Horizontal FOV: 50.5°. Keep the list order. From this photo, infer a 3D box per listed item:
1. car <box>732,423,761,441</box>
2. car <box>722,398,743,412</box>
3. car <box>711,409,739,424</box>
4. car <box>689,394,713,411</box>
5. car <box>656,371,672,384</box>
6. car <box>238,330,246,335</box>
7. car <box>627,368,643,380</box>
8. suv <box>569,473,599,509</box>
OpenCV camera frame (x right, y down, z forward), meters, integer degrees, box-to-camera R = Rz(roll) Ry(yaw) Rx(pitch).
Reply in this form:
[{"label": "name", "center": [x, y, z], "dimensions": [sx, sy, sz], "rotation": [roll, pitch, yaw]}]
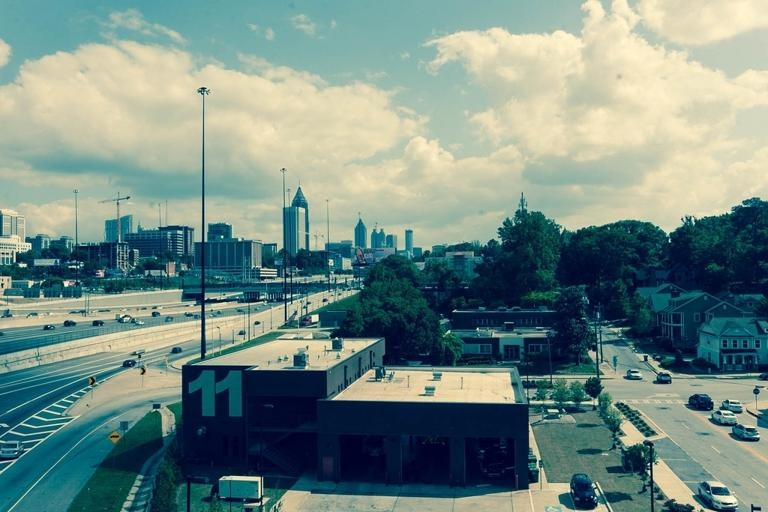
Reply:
[{"label": "car", "center": [58.044, 28.110, 130.199], "dimensions": [4.073, 2.205, 1.956], "rotation": [-1, 2, 12]}, {"label": "car", "center": [60.235, 25.734, 140.407], "dimensions": [3.627, 1.729, 3.206], "rotation": [-1, 2, 14]}, {"label": "car", "center": [56.784, 26.707, 135.232], "dimensions": [4.074, 2.125, 2.320], "rotation": [0, 3, 36]}, {"label": "car", "center": [55.540, 25.403, 142.179], "dimensions": [4.049, 2.303, 2.948], "rotation": [-1, 2, 21]}, {"label": "car", "center": [53.951, 23.201, 156.493], "dimensions": [1.727, 1.490, 3.004], "rotation": [0, 6, 19]}, {"label": "car", "center": [-36.163, 19.421, 207.635], "dimensions": [1.106, 0.803, 1.930], "rotation": [1, 2, 19]}, {"label": "car", "center": [49.033, 23.021, 158.857], "dimensions": [3.146, 1.483, 3.646], "rotation": [-2, 2, 5]}, {"label": "suv", "center": [28.424, 33.093, 114.971], "dimensions": [3.665, 4.063, 2.998], "rotation": [-1, 2, 22]}]
